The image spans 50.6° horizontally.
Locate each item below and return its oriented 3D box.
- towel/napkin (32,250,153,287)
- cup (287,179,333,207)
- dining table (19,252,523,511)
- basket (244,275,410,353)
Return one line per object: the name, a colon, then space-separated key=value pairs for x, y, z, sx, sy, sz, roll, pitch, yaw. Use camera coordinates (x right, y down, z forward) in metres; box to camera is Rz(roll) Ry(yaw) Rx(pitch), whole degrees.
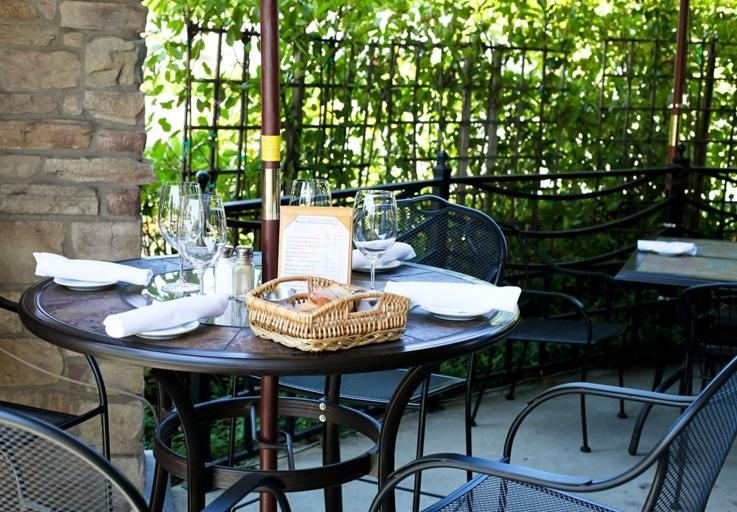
towel/napkin: x=-0.811 y=0.036 z=2.266 sx=0.253 sy=0.061 sz=0.075 roll=7 pitch=41 yaw=-4
cup: x=-0.177 y=-0.172 z=2.272 sx=0.104 sy=0.102 sz=0.104 roll=-2 pitch=3 yaw=0
dining table: x=-0.327 y=0.193 z=1.917 sx=0.797 sy=0.526 sz=0.803 roll=10 pitch=15 yaw=21
basket: x=-0.136 y=0.135 z=1.833 sx=0.205 sy=0.108 sz=0.250 roll=-1 pitch=3 yaw=-38
